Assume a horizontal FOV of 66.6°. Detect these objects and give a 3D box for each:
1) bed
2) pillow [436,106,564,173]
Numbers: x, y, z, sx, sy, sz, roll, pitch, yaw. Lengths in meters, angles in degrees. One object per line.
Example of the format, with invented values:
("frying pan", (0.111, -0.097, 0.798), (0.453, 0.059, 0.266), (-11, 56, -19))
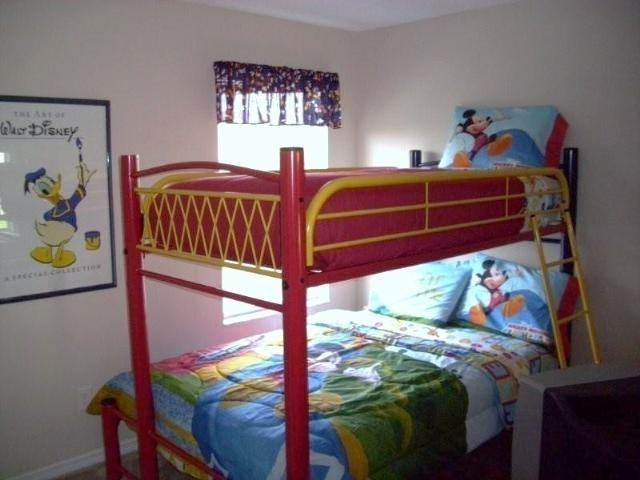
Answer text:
("bed", (0.204, 0.433, 2.666), (1.049, 1.411, 1.853), (9, 14, 43))
("pillow", (1.293, -0.796, 3.584), (0.736, 0.240, 0.889), (-9, 34, -10))
